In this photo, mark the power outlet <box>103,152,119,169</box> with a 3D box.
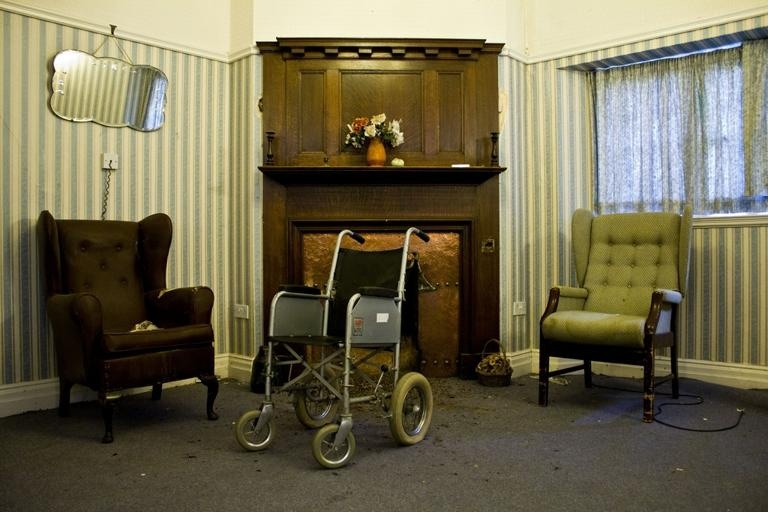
[{"bbox_3d":[-2.305,-0.796,5.503,0.145,0.141,0.047,1,-2,-40],"label":"power outlet"}]

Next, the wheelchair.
[{"bbox_3d":[-0.331,0.584,4.582,0.955,1.556,1.203,0,-1,41],"label":"wheelchair"}]

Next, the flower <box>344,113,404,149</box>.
[{"bbox_3d":[-0.083,-1.094,5.780,0.540,0.307,0.258,-1,11,-4],"label":"flower"}]

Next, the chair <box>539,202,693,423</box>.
[{"bbox_3d":[1.866,0.375,5.241,1.151,1.579,1.164,1,0,-23],"label":"chair"}]

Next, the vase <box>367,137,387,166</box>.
[{"bbox_3d":[-0.065,-0.911,5.744,0.166,0.239,0.262,0,11,1],"label":"vase"}]

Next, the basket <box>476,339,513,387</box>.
[{"bbox_3d":[0.969,0.942,5.806,0.309,0.388,0.325,4,2,39],"label":"basket"}]

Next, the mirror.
[{"bbox_3d":[-2.308,-1.375,5.528,0.912,0.566,0.051,8,7,-7],"label":"mirror"}]

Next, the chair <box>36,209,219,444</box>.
[{"bbox_3d":[-2.007,0.443,5.117,1.283,1.587,1.385,0,1,-24],"label":"chair"}]
